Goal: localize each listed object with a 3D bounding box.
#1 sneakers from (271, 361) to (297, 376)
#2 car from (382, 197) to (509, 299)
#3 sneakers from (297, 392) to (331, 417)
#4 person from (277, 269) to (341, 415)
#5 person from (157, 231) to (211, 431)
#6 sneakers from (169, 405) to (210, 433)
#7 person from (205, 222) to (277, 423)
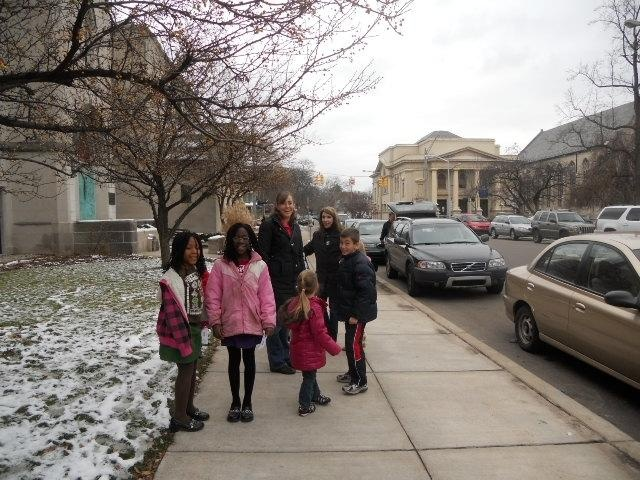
[{"bbox_3d":[-0.479,1.679,6.470,0.392,0.182,0.159,-2,0,8],"label":"sneakers"},{"bbox_3d":[3.005,0.395,12.611,2.030,1.742,3.304,0,6,-11],"label":"car"},{"bbox_3d":[-0.057,1.815,5.428,0.128,0.188,0.391,12,22,43],"label":"sneakers"},{"bbox_3d":[-0.098,1.101,5.333,0.656,1.540,0.486,2,6,10],"label":"person"},{"bbox_3d":[-1.347,0.917,4.954,0.391,1.994,0.541,4,6,25],"label":"person"},{"bbox_3d":[-1.333,1.834,5.013,0.263,0.112,0.172,-5,9,0],"label":"sneakers"},{"bbox_3d":[-0.824,0.862,5.146,0.681,2.053,0.412,0,6,-12],"label":"person"}]
